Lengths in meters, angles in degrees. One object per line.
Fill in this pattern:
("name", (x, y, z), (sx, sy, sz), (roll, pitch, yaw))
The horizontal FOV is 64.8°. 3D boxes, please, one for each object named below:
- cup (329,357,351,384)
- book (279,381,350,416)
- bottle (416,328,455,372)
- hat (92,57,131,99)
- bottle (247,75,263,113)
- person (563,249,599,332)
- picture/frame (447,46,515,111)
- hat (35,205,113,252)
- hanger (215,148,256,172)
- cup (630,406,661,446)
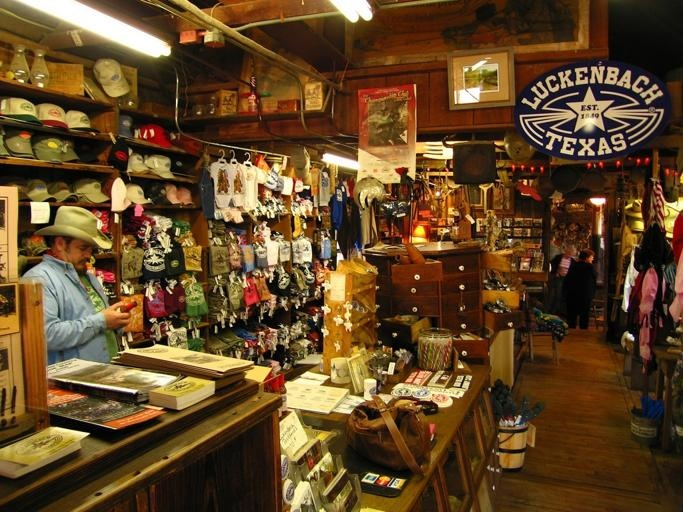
("cup", (-0.001, 0.806, 3.776), (0.187, 0.162, 0.159), (1, 3, 21))
("book", (-0.180, 0.916, 3.466), (0.279, 0.029, 0.290), (2, 4, 21))
("bottle", (0.699, 0.754, 4.192), (0.329, 0.310, 0.318), (0, 1, -1))
("hat", (-1.993, -1.541, 4.666), (0.254, 0.346, 0.111), (-31, 11, -35))
("bottle", (-0.818, -1.529, 5.083), (0.116, 0.418, 0.236), (-1, 2, -9))
("person", (4.951, 0.727, 11.229), (0.524, 1.668, 0.690), (0, 2, 4))
("picture/frame", (1.190, -1.485, 4.507), (0.668, 0.513, 0.053), (-1, -1, 16))
("hat", (-1.818, -0.196, 3.696), (0.528, 0.244, 0.392), (4, -8, 9))
("hanger", (-1.180, -1.037, 5.876), (0.410, 0.237, 0.010), (-2, 13, -1))
("cup", (3.237, 1.858, 5.680), (0.305, 0.282, 0.313), (7, -8, 1))
